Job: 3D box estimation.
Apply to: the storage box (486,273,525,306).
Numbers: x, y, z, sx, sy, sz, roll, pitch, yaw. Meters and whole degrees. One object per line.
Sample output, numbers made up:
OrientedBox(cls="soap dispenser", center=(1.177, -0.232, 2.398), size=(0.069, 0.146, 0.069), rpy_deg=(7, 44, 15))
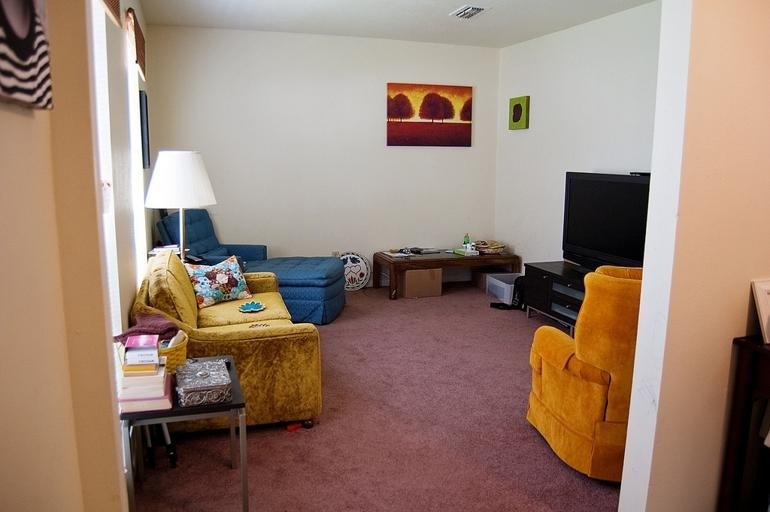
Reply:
OrientedBox(cls="storage box", center=(1.482, 0.389, 6.232), size=(0.437, 0.211, 0.574), rpy_deg=(-2, 9, -16))

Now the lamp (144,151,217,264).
OrientedBox(cls="lamp", center=(-1.570, -0.372, 4.195), size=(0.457, 0.877, 0.921), rpy_deg=(-5, 10, -17))

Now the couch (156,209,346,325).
OrientedBox(cls="couch", center=(-1.372, 0.108, 5.748), size=(1.806, 1.153, 1.152), rpy_deg=(0, 9, -3))

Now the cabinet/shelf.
OrientedBox(cls="cabinet/shelf", center=(1.745, 0.442, 5.290), size=(0.312, 0.557, 0.898), rpy_deg=(0, 12, -28))

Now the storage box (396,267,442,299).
OrientedBox(cls="storage box", center=(0.440, 0.324, 6.421), size=(0.593, 0.412, 0.318), rpy_deg=(-1, 3, -21))

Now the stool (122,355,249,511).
OrientedBox(cls="stool", center=(-0.982, 0.950, 2.980), size=(0.785, 0.736, 0.773), rpy_deg=(-3, 4, -17))

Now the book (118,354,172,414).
OrientedBox(cls="book", center=(-1.138, 0.606, 2.530), size=(0.213, 0.131, 0.208), rpy_deg=(0, 1, -18))

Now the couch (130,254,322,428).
OrientedBox(cls="couch", center=(-1.257, 0.471, 4.202), size=(1.132, 0.889, 1.935), rpy_deg=(-2, 11, -23))

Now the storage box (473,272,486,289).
OrientedBox(cls="storage box", center=(1.233, 0.310, 6.911), size=(0.158, 0.188, 0.296), rpy_deg=(-1, 3, -7))

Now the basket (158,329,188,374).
OrientedBox(cls="basket", center=(-1.099, 0.493, 2.797), size=(0.154, 0.149, 0.174), rpy_deg=(-1, -2, 3))

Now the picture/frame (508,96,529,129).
OrientedBox(cls="picture/frame", center=(1.666, -1.759, 6.576), size=(0.056, 0.525, 0.447), rpy_deg=(0, 4, -18))
